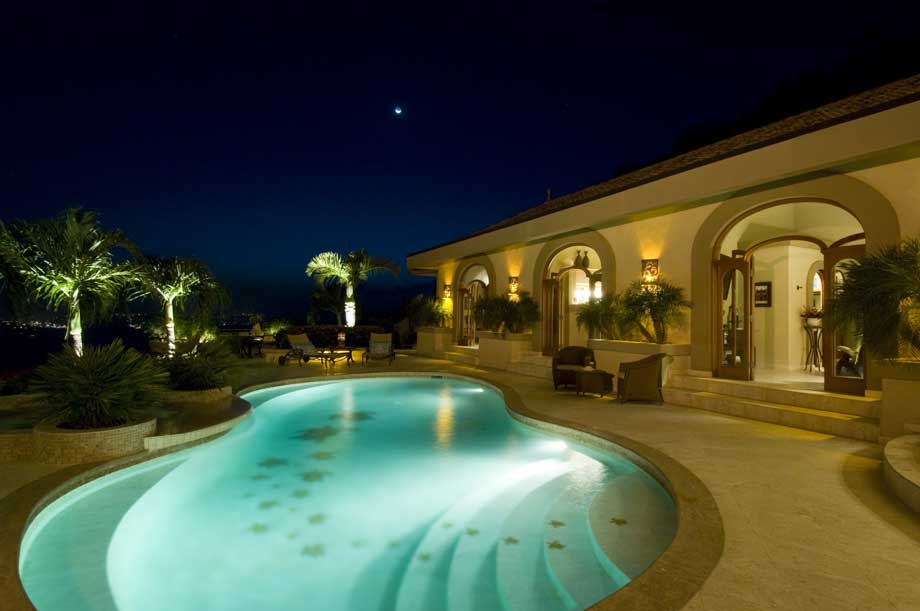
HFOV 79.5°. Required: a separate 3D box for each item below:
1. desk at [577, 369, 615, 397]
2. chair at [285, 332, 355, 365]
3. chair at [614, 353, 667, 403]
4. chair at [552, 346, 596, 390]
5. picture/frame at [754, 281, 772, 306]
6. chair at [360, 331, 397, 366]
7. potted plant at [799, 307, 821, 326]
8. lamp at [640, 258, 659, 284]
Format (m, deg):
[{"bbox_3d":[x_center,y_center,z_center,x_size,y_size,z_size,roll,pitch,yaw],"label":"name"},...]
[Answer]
[{"bbox_3d":[3.112,1.747,13.029,0.656,0.494,0.650,-1,4,-16],"label":"desk"},{"bbox_3d":[-4.671,1.460,18.031,1.881,0.838,1.113,-5,-4,42],"label":"chair"},{"bbox_3d":[4.007,1.635,12.255,1.043,1.333,1.062,1,-4,12],"label":"chair"},{"bbox_3d":[2.784,1.566,14.071,1.058,1.150,1.024,-1,-6,30],"label":"chair"},{"bbox_3d":[7.841,-0.321,14.334,0.047,0.668,0.640,1,-1,-23],"label":"picture/frame"},{"bbox_3d":[-2.752,1.441,18.557,0.963,0.829,1.311,0,9,-5],"label":"chair"},{"bbox_3d":[8.837,0.290,14.007,0.432,0.312,0.434,1,-6,-13],"label":"potted plant"},{"bbox_3d":[4.673,-0.845,13.654,0.151,0.784,0.617,1,2,-34],"label":"lamp"}]
